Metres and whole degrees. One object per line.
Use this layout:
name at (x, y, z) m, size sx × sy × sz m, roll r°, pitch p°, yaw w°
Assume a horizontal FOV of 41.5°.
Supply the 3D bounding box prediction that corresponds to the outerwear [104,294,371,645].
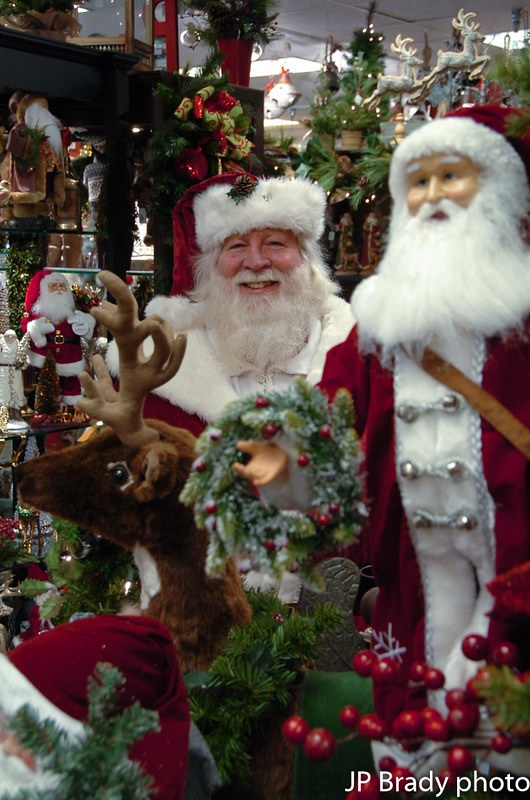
outerwear at (-0.189, 0.062, 1.879) m, size 0.628 × 0.670 × 0.727 m, roll -4°, pitch -9°, yaw -1°

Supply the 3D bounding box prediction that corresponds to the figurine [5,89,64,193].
figurine at (-0.624, -0.712, 1.885) m, size 0.083 × 0.192 × 0.155 m, roll -29°, pitch 20°, yaw -7°

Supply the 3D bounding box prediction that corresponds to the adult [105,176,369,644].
adult at (-0.087, -0.087, 1.864) m, size 0.757 × 0.901 × 0.382 m, roll 0°, pitch 16°, yaw -17°

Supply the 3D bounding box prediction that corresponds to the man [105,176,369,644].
man at (-0.095, -0.103, 1.872) m, size 0.757 × 0.901 × 0.382 m, roll 0°, pitch 16°, yaw -17°

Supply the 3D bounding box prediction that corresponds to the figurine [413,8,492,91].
figurine at (0.391, -0.724, 1.447) m, size 0.141 × 0.157 × 0.034 m, roll -1°, pitch 0°, yaw 15°
